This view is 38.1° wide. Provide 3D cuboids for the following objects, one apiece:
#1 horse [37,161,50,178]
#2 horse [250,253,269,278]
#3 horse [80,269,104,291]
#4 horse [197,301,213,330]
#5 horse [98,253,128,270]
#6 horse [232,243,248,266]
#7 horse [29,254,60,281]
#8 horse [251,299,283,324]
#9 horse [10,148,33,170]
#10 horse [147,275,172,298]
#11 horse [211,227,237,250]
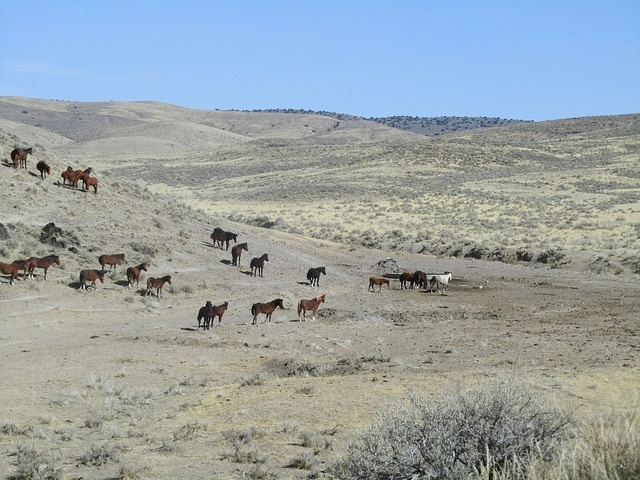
[{"bbox_3d":[-17.552,-4.463,58.765,0.772,1.140,1.325,4,2,-16],"label":"horse"},{"bbox_3d":[-3.909,1.531,59.093,0.993,1.501,2.310,4,2,-3],"label":"horse"},{"bbox_3d":[-12.347,2.105,50.330,0.917,1.063,2.076,5,2,13],"label":"horse"},{"bbox_3d":[-5.908,3.837,47.831,0.684,1.447,1.051,4,2,-7],"label":"horse"},{"bbox_3d":[-11.813,1.197,52.528,1.414,0.876,2.364,4,2,-13],"label":"horse"},{"bbox_3d":[-5.239,0.899,59.815,0.901,1.422,1.914,4,2,-4],"label":"horse"},{"bbox_3d":[-14.644,1.440,49.343,1.290,1.237,2.124,4,2,-3],"label":"horse"},{"bbox_3d":[-2.871,3.791,49.984,1.567,1.352,2.246,4,2,-4],"label":"horse"},{"bbox_3d":[-18.792,-5.148,58.360,0.752,1.381,2.054,5,2,6],"label":"horse"},{"bbox_3d":[-9.113,2.572,52.324,1.351,1.228,1.696,4,2,-11],"label":"horse"},{"bbox_3d":[-6.527,-0.086,62.255,1.641,1.322,2.198,4,2,-9],"label":"horse"}]
